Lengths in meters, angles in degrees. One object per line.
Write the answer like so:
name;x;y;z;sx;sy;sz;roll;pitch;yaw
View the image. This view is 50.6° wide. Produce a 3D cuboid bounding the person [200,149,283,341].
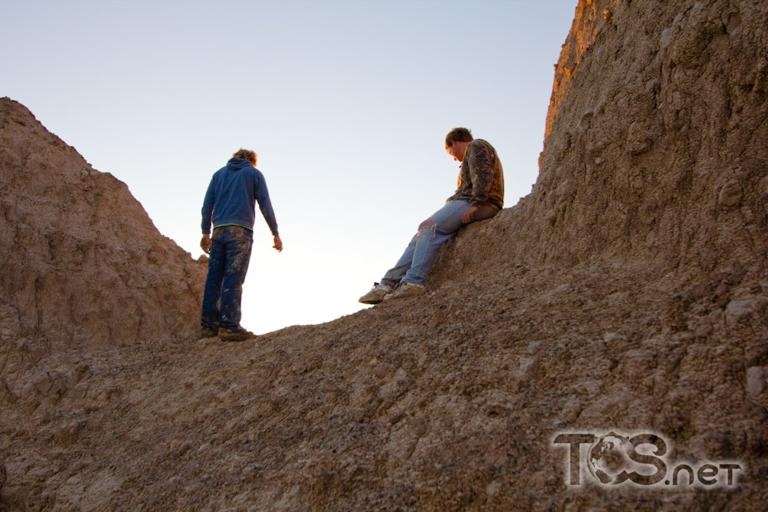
person;-1.865;-0.163;9.873;1.032;2.419;0.522;-18;-25;28
